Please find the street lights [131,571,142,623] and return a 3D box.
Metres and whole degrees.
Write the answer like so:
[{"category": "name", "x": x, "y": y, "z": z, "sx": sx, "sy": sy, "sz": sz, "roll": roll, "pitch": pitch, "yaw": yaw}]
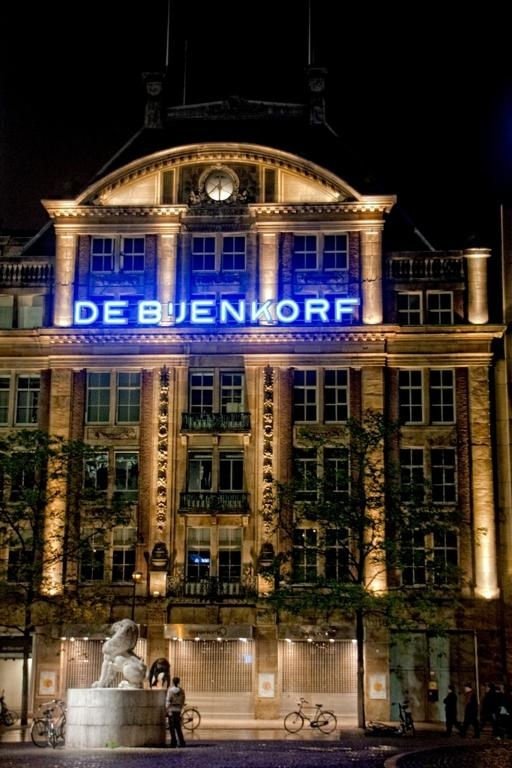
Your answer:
[{"category": "street lights", "x": -5.171, "y": 9.090, "z": 46.560, "sx": 0.411, "sy": 2.023, "sz": 0.820, "roll": 2, "pitch": -14, "yaw": -8}]
